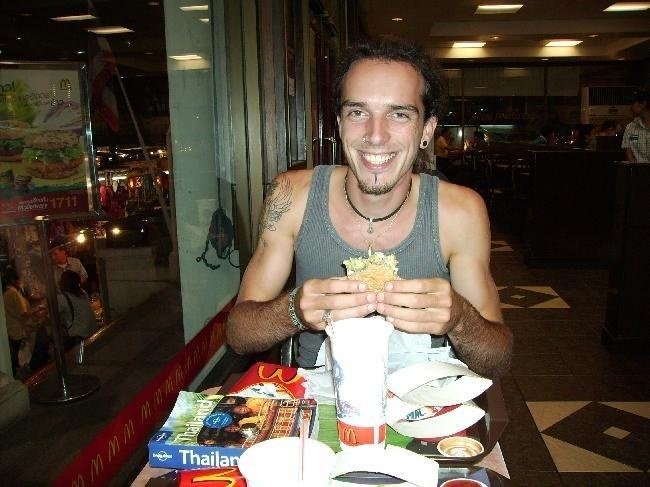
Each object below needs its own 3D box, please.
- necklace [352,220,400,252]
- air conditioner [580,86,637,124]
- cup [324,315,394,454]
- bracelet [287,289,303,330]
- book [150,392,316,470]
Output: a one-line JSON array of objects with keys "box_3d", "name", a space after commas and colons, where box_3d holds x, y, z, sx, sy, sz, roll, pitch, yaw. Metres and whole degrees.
[{"box_3d": [0.192, -0.029, 1.880, 0.111, 0.138, 0.043, 1, -12, 16], "name": "necklace"}, {"box_3d": [9.015, -4.553, 15.624, 1.648, 1.067, 0.856, -3, 6, -9], "name": "air conditioner"}, {"box_3d": [0.077, 0.339, 1.154, 0.153, 0.304, 0.107, 1, 13, 5], "name": "cup"}, {"box_3d": [-0.104, 0.221, 1.574, 0.045, 0.095, 0.109, -12, 53, -2], "name": "bracelet"}, {"box_3d": [-0.230, 0.426, 1.140, 0.232, 0.056, 0.217, 2, 10, 4], "name": "book"}]
